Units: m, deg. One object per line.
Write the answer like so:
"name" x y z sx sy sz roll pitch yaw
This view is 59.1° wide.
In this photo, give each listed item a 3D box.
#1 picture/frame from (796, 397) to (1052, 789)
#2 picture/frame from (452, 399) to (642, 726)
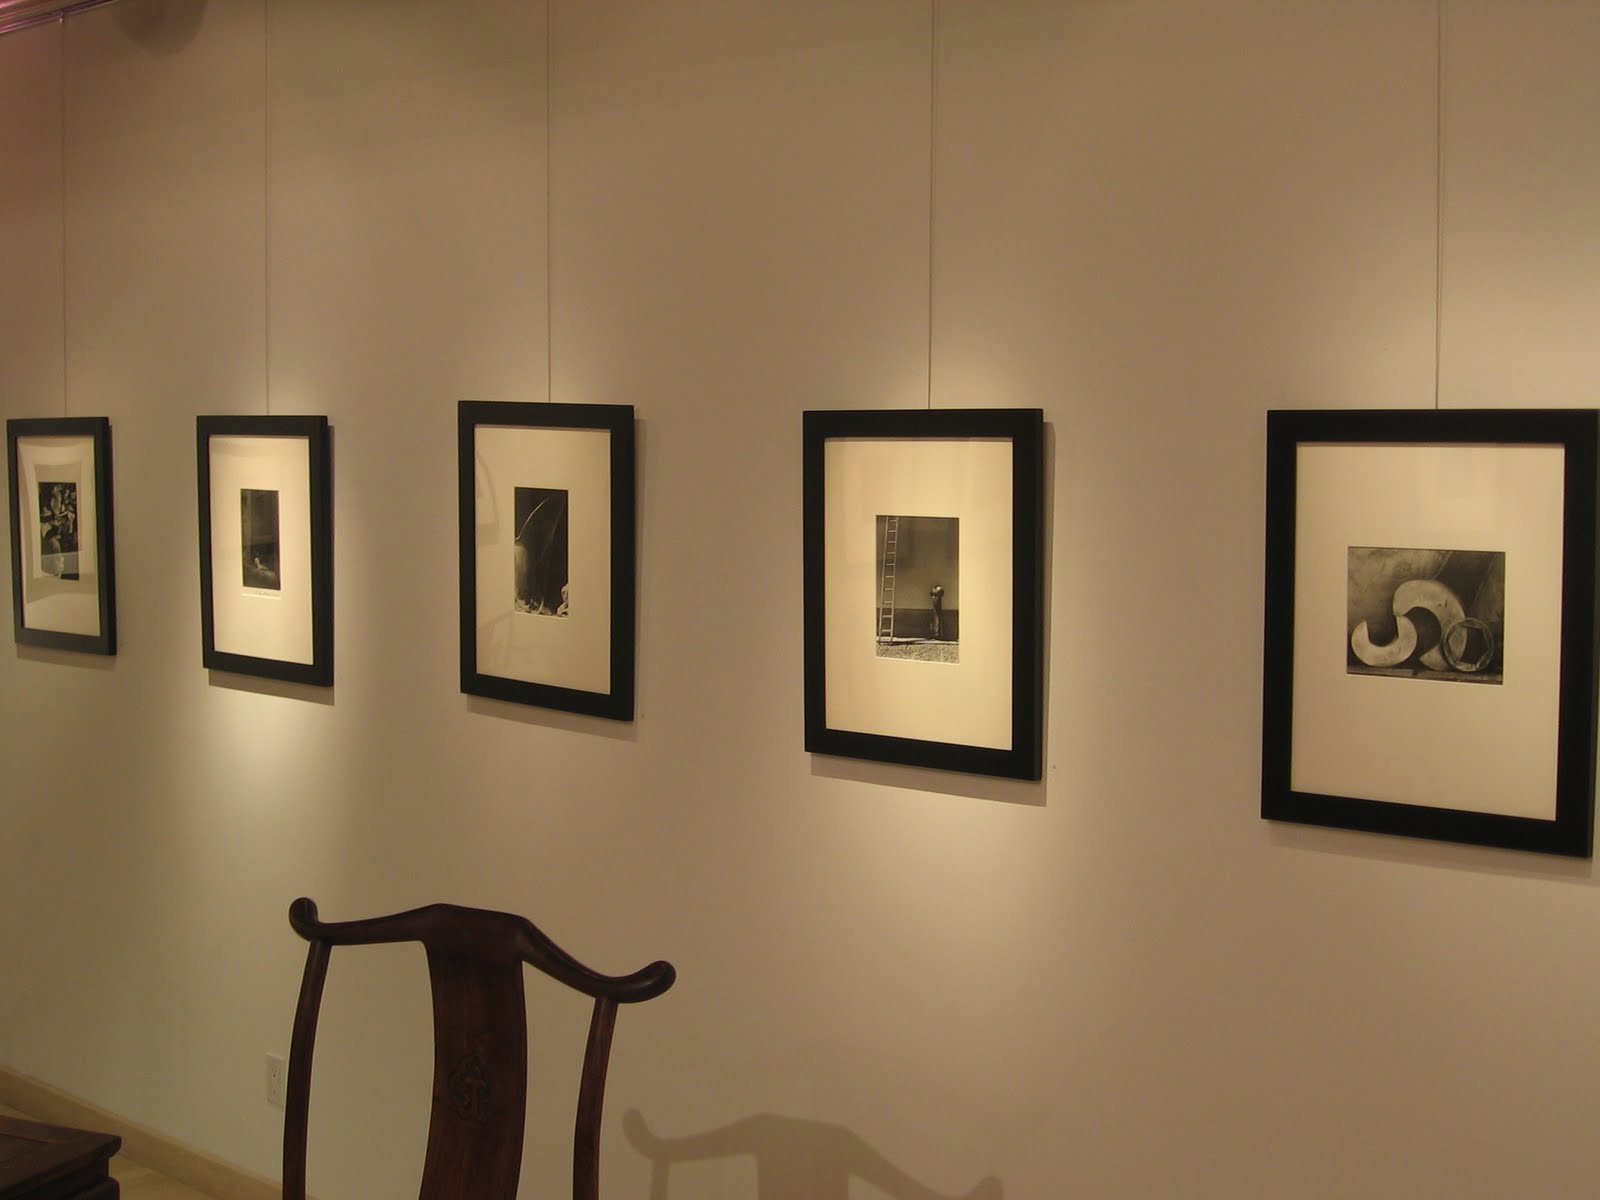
"picture/frame" 0.290 -0.032 3.094 0.720 1.146 0.072 1 3 28
"picture/frame" -0.608 -0.111 3.497 0.678 1.073 0.069 1 2 29
